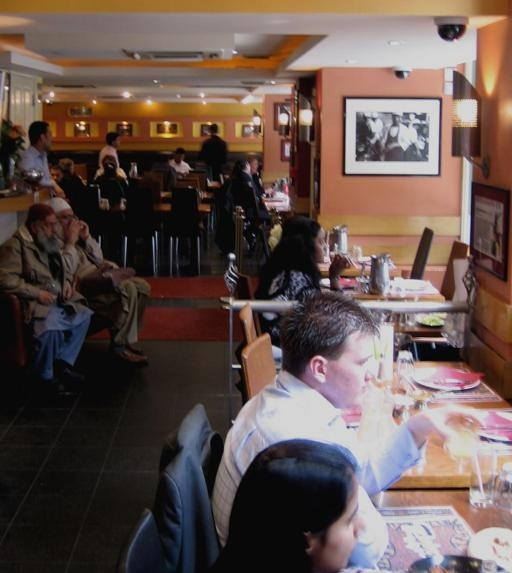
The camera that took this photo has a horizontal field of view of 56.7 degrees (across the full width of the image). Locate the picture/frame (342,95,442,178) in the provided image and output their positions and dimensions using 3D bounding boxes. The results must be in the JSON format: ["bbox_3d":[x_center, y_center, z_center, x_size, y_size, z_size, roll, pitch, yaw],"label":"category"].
[{"bbox_3d":[1.829,-2.007,6.226,0.877,0.796,0.036,1,9,8],"label":"picture/frame"}]

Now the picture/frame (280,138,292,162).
[{"bbox_3d":[0.872,-4.023,14.034,0.233,0.666,0.600,-2,10,-7],"label":"picture/frame"}]

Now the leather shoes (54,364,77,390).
[{"bbox_3d":[-1.619,0.769,4.043,0.113,0.178,0.374,5,0,-24],"label":"leather shoes"}]

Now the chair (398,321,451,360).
[{"bbox_3d":[1.075,0.342,3.004,0.282,0.152,0.206,0,2,-3],"label":"chair"}]

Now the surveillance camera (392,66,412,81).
[{"bbox_3d":[1.794,-2.620,5.886,0.164,0.121,0.166,13,18,42],"label":"surveillance camera"}]

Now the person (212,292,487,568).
[{"bbox_3d":[0.172,0.198,1.296,0.543,1.052,0.418,-5,16,-3],"label":"person"}]

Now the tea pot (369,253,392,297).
[{"bbox_3d":[0.955,-0.122,3.728,0.144,0.311,0.285,-4,24,-2],"label":"tea pot"}]

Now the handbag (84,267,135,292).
[{"bbox_3d":[-1.316,-0.083,4.233,0.332,0.120,0.220,0,35,15],"label":"handbag"}]

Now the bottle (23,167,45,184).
[{"bbox_3d":[-2.210,-1.085,4.679,0.119,0.101,0.131,0,11,-9],"label":"bottle"}]

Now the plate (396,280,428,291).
[{"bbox_3d":[1.298,-0.015,3.984,0.138,0.029,0.149,-5,17,-17],"label":"plate"}]

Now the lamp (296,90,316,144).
[{"bbox_3d":[0.824,-2.767,7.812,0.253,0.830,0.250,-1,-1,-5],"label":"lamp"}]

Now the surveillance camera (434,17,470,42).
[{"bbox_3d":[1.327,-1.721,3.150,0.155,0.136,0.171,-1,10,0],"label":"surveillance camera"}]

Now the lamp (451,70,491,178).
[{"bbox_3d":[1.325,-0.998,2.925,0.225,0.658,0.230,3,10,23],"label":"lamp"}]
